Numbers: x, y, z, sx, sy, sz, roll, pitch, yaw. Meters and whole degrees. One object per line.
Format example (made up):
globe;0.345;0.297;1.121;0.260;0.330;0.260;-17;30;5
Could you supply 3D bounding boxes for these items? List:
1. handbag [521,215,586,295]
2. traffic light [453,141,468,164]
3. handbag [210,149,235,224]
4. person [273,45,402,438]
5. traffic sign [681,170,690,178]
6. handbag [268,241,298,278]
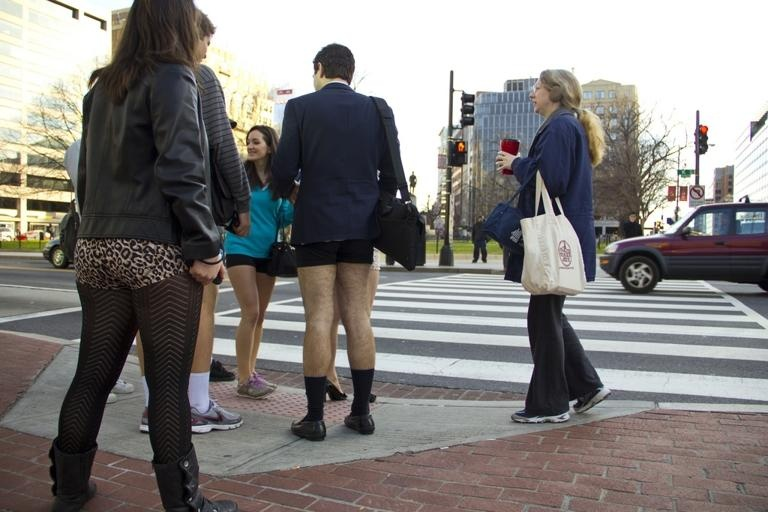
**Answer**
handbag;1.290;-0.002;4.406;0.528;0.736;0.297;3;-13;-33
traffic light;2.600;-3.545;19.740;0.422;0.859;0.824;1;3;3
handbag;-1.151;-0.473;4.145;0.141;0.420;0.291;-15;15;-22
person;-0.359;-0.156;4.399;0.948;2.971;0.492;0;3;-12
traffic sign;17.200;-4.670;32.830;0.505;0.360;0.288;0;-3;3
handbag;-0.857;0.030;4.960;0.172;0.332;0.313;-2;-1;26
